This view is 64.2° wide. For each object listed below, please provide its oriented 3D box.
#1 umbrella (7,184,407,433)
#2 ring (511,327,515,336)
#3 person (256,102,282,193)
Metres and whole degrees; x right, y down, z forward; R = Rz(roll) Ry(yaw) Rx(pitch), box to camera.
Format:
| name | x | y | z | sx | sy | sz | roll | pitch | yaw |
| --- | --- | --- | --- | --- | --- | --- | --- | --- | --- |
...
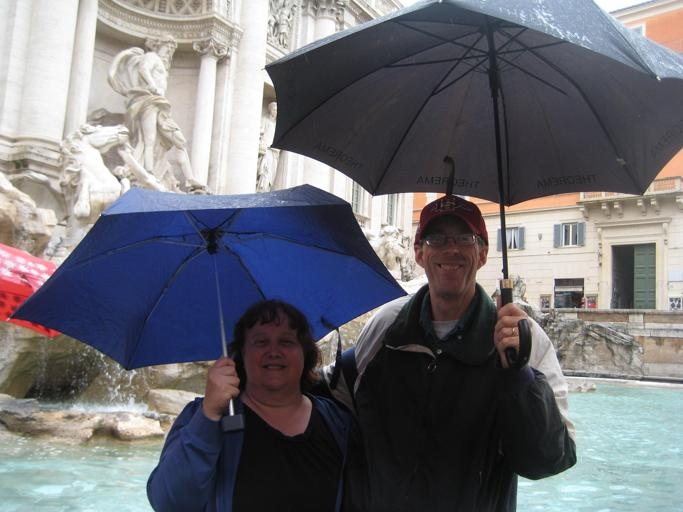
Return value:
| name | x | y | z | sx | sy | sz | roll | pitch | yaw |
| --- | --- | --- | --- | --- | --- | --- | --- | --- | --- |
| umbrella | -0.613 | -0.022 | 2.619 | 1.090 | 0.692 | 1.109 | 16 | -52 | -16 |
| ring | 0.564 | 0.248 | 1.815 | 0.014 | 0.021 | 0.018 | -1 | -10 | 11 |
| person | -2.634 | -3.908 | 20.527 | 0.904 | 3.797 | 0.896 | -1 | 36 | -13 |
